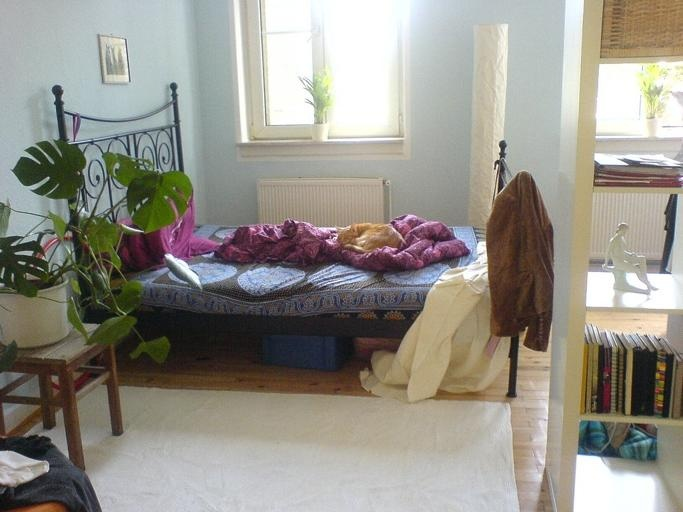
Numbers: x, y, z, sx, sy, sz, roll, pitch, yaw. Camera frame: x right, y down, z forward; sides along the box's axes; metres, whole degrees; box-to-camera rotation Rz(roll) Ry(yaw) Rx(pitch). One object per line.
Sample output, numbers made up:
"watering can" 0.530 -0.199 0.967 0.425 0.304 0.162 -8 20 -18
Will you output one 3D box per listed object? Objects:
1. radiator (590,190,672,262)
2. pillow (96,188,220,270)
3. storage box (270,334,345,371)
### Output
"radiator" 2.056 -0.240 3.983 0.576 0.617 0.046 0 15 3
"pillow" -1.105 -0.215 3.610 0.425 0.201 0.577 22 25 36
"storage box" -0.218 0.566 3.343 0.323 0.173 0.244 5 13 16
